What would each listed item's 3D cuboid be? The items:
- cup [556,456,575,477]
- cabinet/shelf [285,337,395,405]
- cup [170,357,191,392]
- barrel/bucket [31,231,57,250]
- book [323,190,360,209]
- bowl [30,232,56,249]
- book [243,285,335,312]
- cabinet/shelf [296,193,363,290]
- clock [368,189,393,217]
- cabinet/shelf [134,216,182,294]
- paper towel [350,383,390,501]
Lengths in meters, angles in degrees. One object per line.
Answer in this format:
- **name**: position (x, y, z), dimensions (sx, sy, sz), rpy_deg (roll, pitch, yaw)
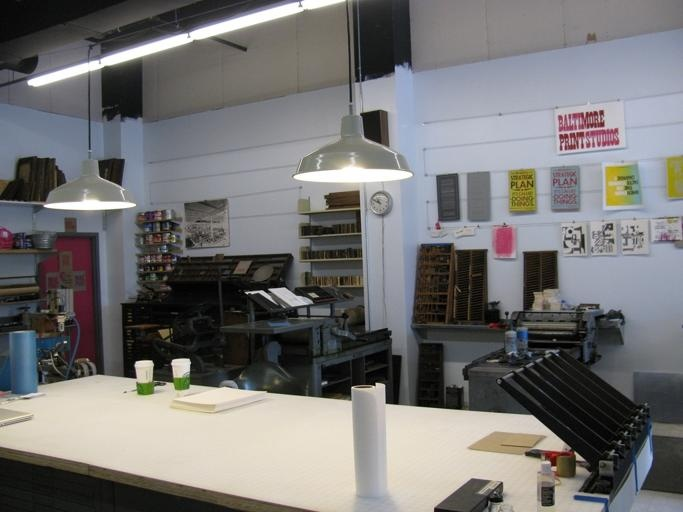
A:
- **cup**: position (0.975, 0.913, 2.454), dimensions (0.053, 0.067, 0.091), rpy_deg (-2, 3, -13)
- **cabinet/shelf**: position (0.059, 1.274, 6.257), dimensions (0.383, 0.752, 1.247), rpy_deg (7, 11, 42)
- **cup**: position (-1.089, 0.814, 3.870), dimensions (0.145, 0.202, 0.145), rpy_deg (-3, -7, 0)
- **barrel/bucket**: position (-4.185, -0.221, 8.028), dimensions (0.248, 0.177, 0.247), rpy_deg (-1, -4, 0)
- **book**: position (0.019, -0.730, 7.350), dimensions (0.548, 0.222, 0.134), rpy_deg (1, 6, 36)
- **bowl**: position (-4.198, -0.223, 8.004), dimensions (0.237, 0.169, 0.227), rpy_deg (-1, -1, 0)
- **book**: position (-0.501, 0.423, 5.792), dimensions (0.393, 0.237, 1.009), rpy_deg (1, 7, 37)
- **cabinet/shelf**: position (-0.115, -0.198, 7.559), dimensions (1.270, 1.400, 0.407), rpy_deg (-2, -5, 25)
- **clock**: position (0.474, -0.646, 6.896), dimensions (0.324, 0.326, 0.104), rpy_deg (1, 6, 38)
- **cabinet/shelf**: position (-3.005, 0.004, 9.042), dimensions (0.819, 1.421, 0.454), rpy_deg (-12, 10, -32)
- **paper towel**: position (0.123, 0.770, 2.417), dimensions (0.146, 0.463, 0.166), rpy_deg (-3, 5, 0)
